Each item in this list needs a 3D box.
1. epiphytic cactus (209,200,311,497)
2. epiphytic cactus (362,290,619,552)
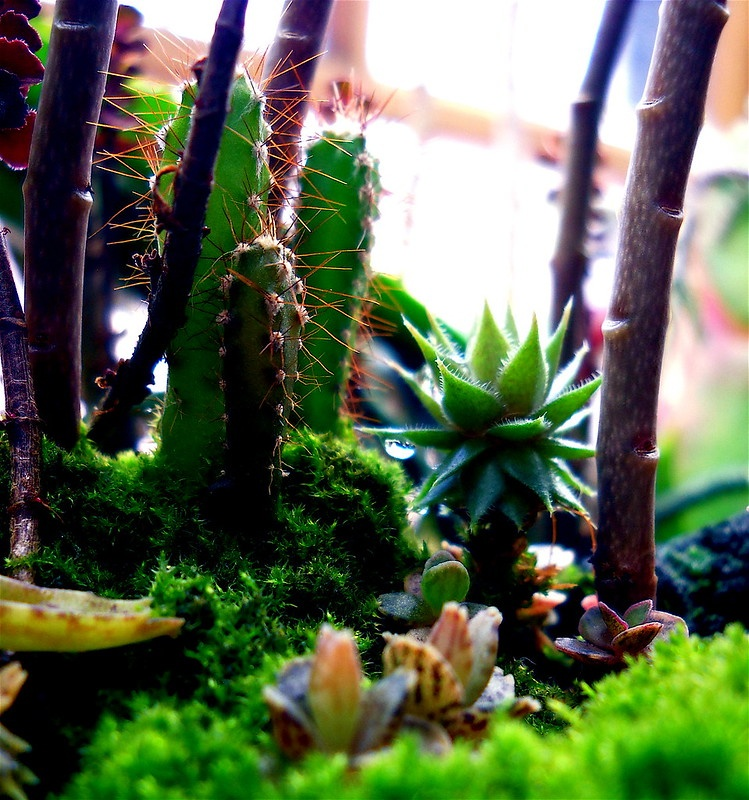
[{"bbox_3d":[-0.092,-0.022,0.729,0.068,0.205,0.055,9,0,-16],"label":"epiphytic cactus"},{"bbox_3d":[0.109,0.014,0.858,0.201,0.202,0.220,10,-1,23],"label":"epiphytic cactus"}]
